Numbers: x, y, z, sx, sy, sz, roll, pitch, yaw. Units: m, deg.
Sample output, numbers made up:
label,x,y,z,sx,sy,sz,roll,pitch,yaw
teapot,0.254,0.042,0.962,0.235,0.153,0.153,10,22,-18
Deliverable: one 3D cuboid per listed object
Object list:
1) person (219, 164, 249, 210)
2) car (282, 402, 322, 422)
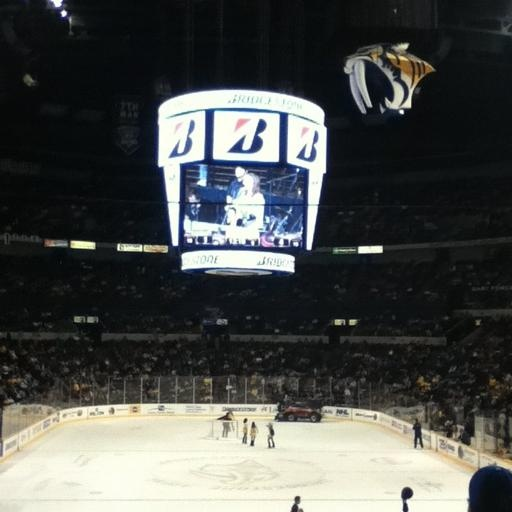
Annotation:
label,x,y,z,sx,sy,sz,roll,pitch,yaw
person,-0.680,-3.387,47.872,0.891,0.745,2.389,-10,36,17
car,2.903,9.632,58.455,1.893,0.995,1.134,2,-4,7
